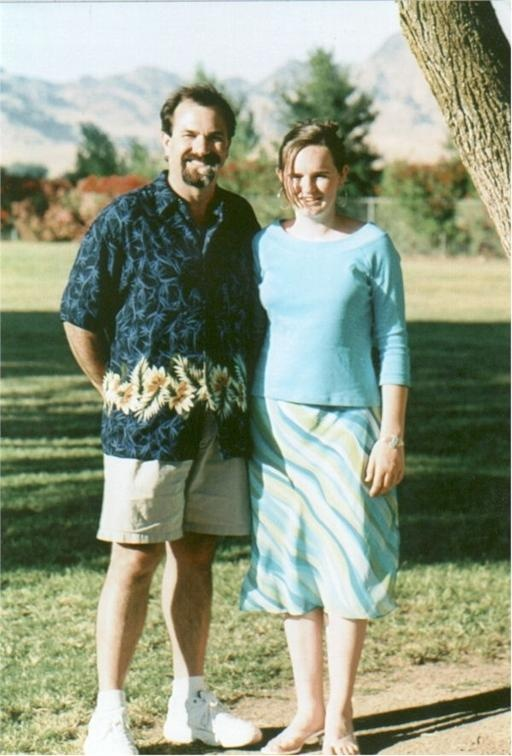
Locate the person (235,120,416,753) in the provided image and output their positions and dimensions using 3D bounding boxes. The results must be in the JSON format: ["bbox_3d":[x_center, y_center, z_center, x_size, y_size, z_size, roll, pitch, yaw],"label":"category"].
[{"bbox_3d":[0.242,0.198,3.644,0.513,2.137,0.385,3,8,40],"label":"person"}]
